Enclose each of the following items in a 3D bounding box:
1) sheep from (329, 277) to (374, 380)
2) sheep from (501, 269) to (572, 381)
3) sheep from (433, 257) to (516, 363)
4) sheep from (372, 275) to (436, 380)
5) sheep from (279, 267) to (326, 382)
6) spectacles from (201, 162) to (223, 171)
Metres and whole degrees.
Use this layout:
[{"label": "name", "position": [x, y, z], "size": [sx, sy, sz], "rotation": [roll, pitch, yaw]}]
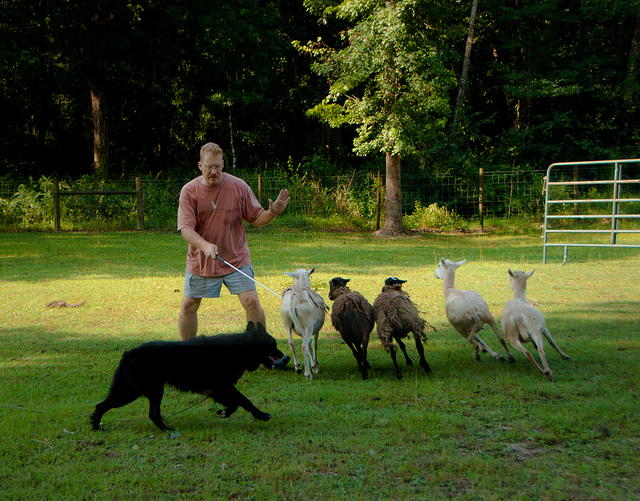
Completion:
[{"label": "sheep", "position": [0.541, 1.196, 11.965], "size": [0.607, 1.198, 1.214], "rotation": [-9, 16, -27]}, {"label": "sheep", "position": [3.111, 1.154, 11.487], "size": [0.647, 1.482, 2.150], "rotation": [-16, 23, 14]}, {"label": "sheep", "position": [2.341, 0.925, 12.460], "size": [0.663, 1.598, 2.233], "rotation": [-12, 3, 0]}, {"label": "sheep", "position": [1.267, 1.190, 11.853], "size": [0.856, 1.257, 1.183], "rotation": [-1, 14, 0]}, {"label": "sheep", "position": [-0.186, 1.217, 11.789], "size": [0.677, 1.250, 0.891], "rotation": [-7, 15, -22]}, {"label": "spectacles", "position": [-1.621, -1.261, 11.392], "size": [0.298, 0.103, 0.092], "rotation": [-5, 15, -15]}]
